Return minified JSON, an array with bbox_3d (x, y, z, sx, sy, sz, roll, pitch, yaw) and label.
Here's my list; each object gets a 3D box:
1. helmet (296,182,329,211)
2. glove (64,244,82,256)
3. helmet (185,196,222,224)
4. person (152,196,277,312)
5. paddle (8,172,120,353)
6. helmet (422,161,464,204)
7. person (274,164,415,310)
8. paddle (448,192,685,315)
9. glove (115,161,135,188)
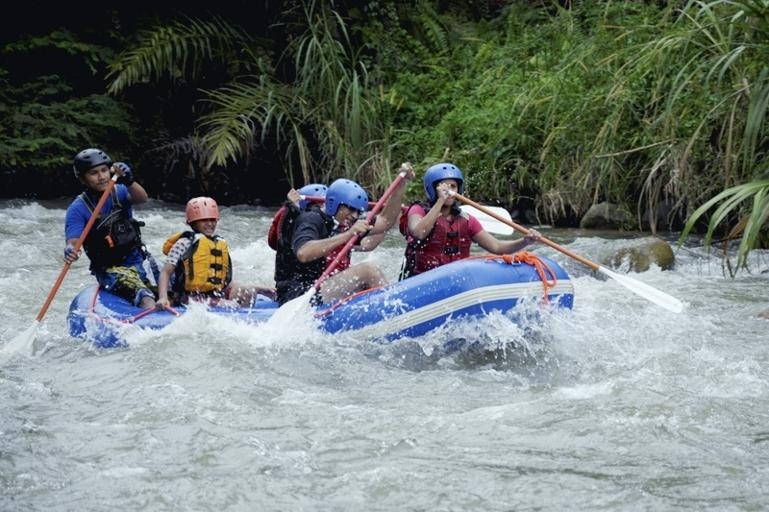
[{"bbox_3d":[-0.728,-0.577,7.763,0.288,0.267,0.224,-24,-13,25],"label":"helmet"},{"bbox_3d":[-2.959,-0.038,7.559,0.133,0.045,0.103,9,39,18],"label":"glove"},{"bbox_3d":[-1.743,-0.421,7.668,0.234,0.246,0.308,-3,-20,-30],"label":"helmet"},{"bbox_3d":[-1.606,0.012,7.828,1.312,1.119,0.885,-3,16,-25],"label":"person"},{"bbox_3d":[-3.497,0.124,8.689,0.363,2.615,0.177,25,-5,24],"label":"paddle"},{"bbox_3d":[0.611,-0.688,7.541,0.287,0.296,0.341,-2,-6,11],"label":"helmet"},{"bbox_3d":[-0.497,-0.001,8.174,1.458,2.040,1.067,-1,-8,11],"label":"person"},{"bbox_3d":[2.105,-0.008,8.713,2.874,0.298,0.167,28,39,7],"label":"paddle"},{"bbox_3d":[-2.543,-0.793,7.822,0.164,0.232,0.292,0,11,-18],"label":"glove"}]
